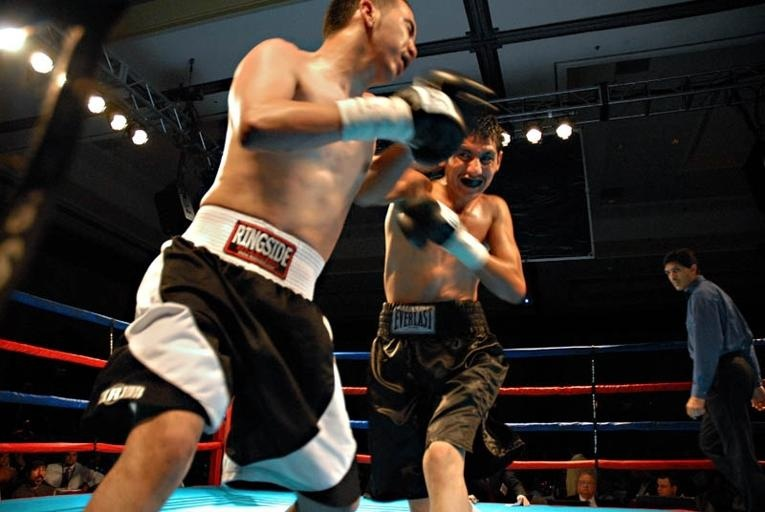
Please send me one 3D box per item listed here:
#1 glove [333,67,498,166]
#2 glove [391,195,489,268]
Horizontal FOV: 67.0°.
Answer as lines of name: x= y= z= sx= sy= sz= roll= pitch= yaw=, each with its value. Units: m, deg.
glove: x=0.154 y=-0.532 z=2.201 sx=0.482 sy=0.223 sz=0.493 roll=5 pitch=5 yaw=24
glove: x=0.268 y=-0.117 z=2.780 sx=0.400 sy=0.172 sz=0.304 roll=42 pitch=-14 yaw=-14
